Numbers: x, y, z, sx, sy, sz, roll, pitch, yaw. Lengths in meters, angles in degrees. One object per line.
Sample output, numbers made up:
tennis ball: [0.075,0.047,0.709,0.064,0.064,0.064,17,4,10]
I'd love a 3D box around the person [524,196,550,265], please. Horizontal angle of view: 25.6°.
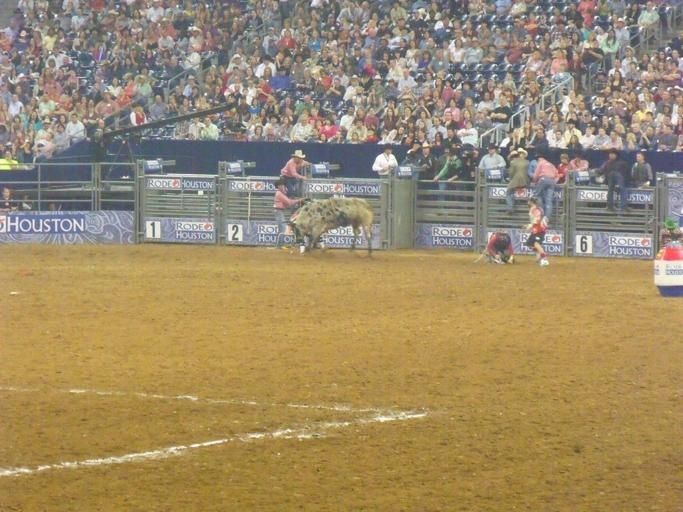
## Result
person: [5.130,-0.677,39.624,0.721,1.772,0.569,2,12,7]

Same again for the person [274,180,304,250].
person: [-1.663,-1.227,43.680,0.850,1.968,0.697,6,14,21]
